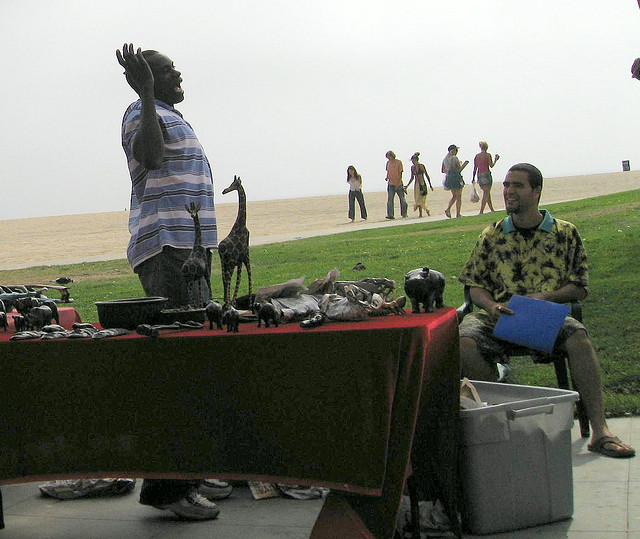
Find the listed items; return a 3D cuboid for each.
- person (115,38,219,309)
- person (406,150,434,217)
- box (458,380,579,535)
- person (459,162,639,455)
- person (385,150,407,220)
[{"bbox_3d":[-0.781,-0.482,3.881,0.483,1.355,0.829,-4,5,-11],"label":"person"},{"bbox_3d":[2.528,-2.089,19.001,0.573,1.577,3.272,-2,5,9],"label":"person"},{"bbox_3d":[0.921,0.902,3.672,0.483,0.605,0.640,4,2,13],"label":"box"},{"bbox_3d":[1.360,0.199,4.823,0.925,1.741,0.821,-2,5,18],"label":"person"},{"bbox_3d":[1.926,-2.104,19.240,0.533,1.703,2.084,-3,5,7],"label":"person"}]
